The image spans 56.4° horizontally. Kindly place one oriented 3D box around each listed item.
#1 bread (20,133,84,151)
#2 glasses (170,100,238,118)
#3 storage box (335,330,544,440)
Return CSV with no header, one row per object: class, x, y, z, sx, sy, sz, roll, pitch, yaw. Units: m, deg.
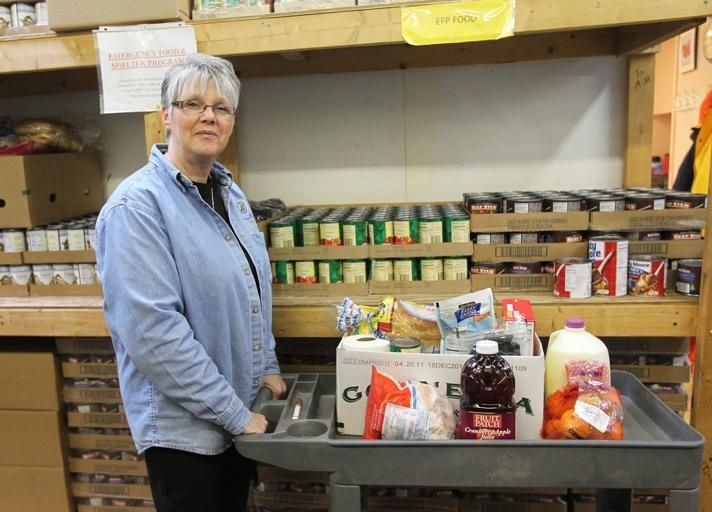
bread,-1.595,-0.597,3.519,0.192,0.044,0.110,8,5,-39
glasses,-0.544,-0.520,2.355,0.202,0.053,0.045,-3,5,-20
storage box,0.201,0.405,2.336,0.528,0.198,0.375,1,0,7
